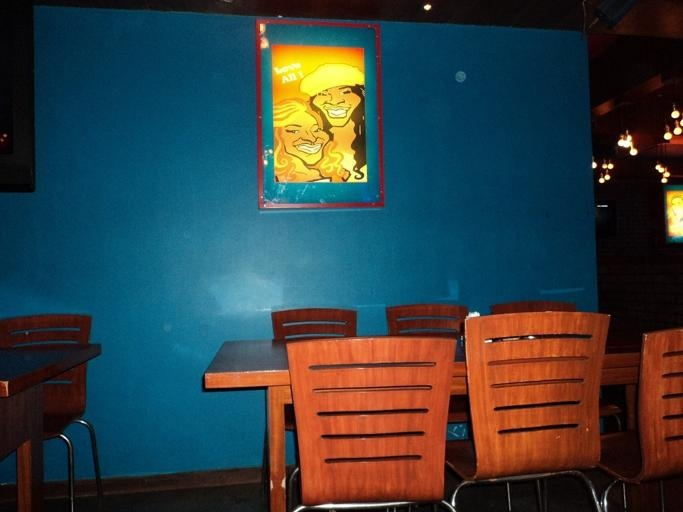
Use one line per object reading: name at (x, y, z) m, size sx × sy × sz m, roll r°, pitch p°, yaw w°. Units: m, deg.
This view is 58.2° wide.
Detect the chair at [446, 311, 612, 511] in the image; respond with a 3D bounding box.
chair at (0.879, 0.734, 3.430) m, size 0.862 × 1.448 × 0.899 m, roll -1°, pitch 5°, yaw -7°
